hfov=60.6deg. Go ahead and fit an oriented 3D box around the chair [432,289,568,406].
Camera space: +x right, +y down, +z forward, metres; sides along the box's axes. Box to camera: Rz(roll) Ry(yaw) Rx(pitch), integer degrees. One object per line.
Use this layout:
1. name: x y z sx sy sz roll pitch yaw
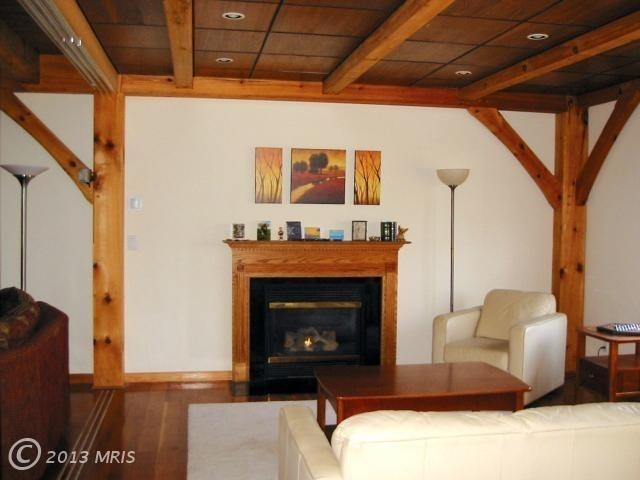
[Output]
1. chair: 1.701 0.963 5.149 0.971 0.824 0.922 2 5 44
